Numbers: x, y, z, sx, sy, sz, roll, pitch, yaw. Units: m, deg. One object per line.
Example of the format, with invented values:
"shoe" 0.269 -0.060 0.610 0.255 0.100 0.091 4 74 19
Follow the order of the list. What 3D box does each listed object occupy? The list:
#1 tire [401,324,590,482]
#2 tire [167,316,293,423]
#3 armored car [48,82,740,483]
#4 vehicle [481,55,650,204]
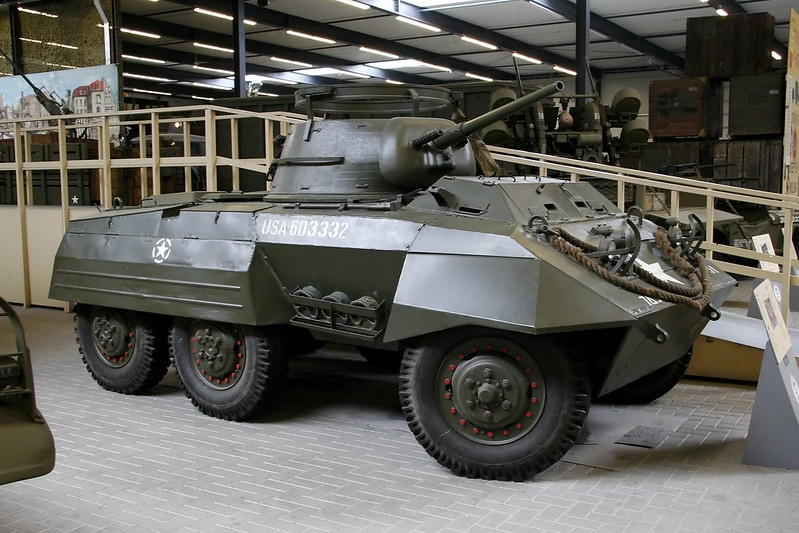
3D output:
"tire" 0.719 1.103 5.691 1.405 0.382 1.463 20 54 14
"tire" -1.650 0.981 6.667 0.940 0.966 0.295 6 0 19
"armored car" -0.088 0.128 7.138 5.417 2.725 3.554 2 2 24
"vehicle" 3.685 -2.706 14.758 2.481 1.862 2.954 -6 11 2
